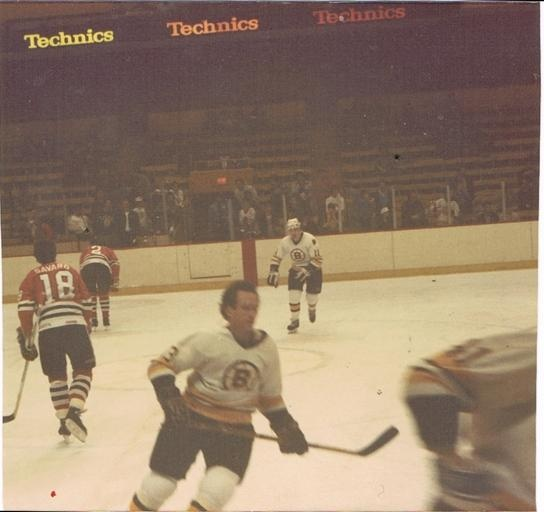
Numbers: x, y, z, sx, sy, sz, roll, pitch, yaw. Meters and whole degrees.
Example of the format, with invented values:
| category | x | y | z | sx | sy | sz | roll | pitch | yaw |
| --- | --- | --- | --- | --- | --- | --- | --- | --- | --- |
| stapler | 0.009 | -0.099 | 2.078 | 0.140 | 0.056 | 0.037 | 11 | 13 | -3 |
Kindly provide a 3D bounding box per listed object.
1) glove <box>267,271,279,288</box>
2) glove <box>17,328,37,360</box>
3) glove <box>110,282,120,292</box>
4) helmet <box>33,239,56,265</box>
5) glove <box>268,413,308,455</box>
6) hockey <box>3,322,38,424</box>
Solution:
| category | x | y | z | sx | sy | sz | roll | pitch | yaw |
| --- | --- | --- | --- | --- | --- | --- | --- | --- | --- |
| glove | 0.006 | 0.140 | 4.073 | 0.057 | 0.082 | 0.026 | 6 | 2 | -7 |
| glove | -1.430 | 0.529 | 4.100 | 0.070 | 0.228 | 0.093 | -14 | -13 | -27 |
| glove | -0.916 | 0.183 | 4.098 | 0.037 | 0.058 | 0.017 | 0 | -9 | -2 |
| helmet | -1.327 | -0.022 | 4.096 | 0.128 | 0.148 | 0.121 | 0 | 1 | 39 |
| glove | 0.092 | 1.015 | 4.039 | 0.154 | 0.287 | 0.073 | -27 | -6 | -6 |
| hockey | -1.476 | 0.702 | 4.120 | 0.078 | 0.530 | 0.077 | 9 | -6 | 1 |
